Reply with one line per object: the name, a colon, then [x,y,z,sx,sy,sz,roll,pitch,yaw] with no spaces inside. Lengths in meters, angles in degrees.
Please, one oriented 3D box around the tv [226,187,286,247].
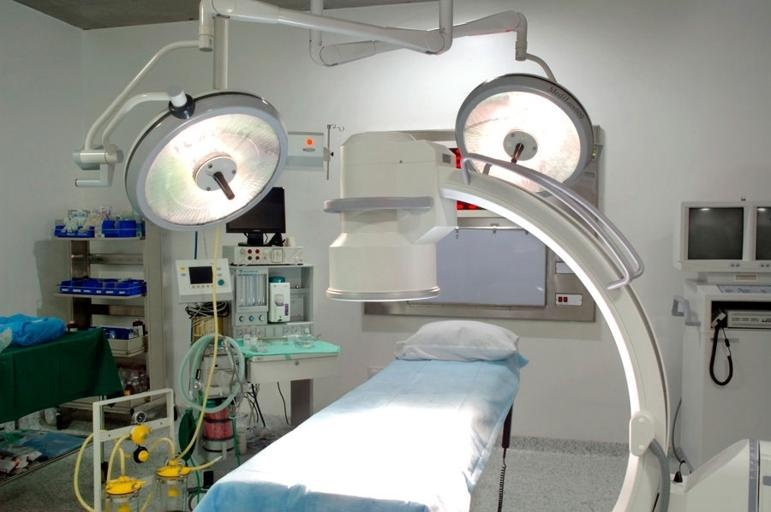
tv: [-0.872,-0.268,4.256,0.507,0.537,0.176,0,-12,-12]
